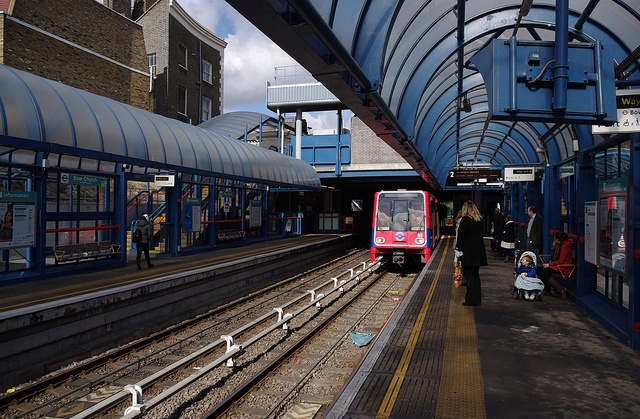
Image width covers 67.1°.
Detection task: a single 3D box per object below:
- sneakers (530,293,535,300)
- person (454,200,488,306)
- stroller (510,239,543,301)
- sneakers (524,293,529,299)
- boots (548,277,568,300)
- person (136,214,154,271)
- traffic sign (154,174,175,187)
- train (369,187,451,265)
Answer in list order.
[{"bbox_3d":[5.677,2.404,13.182,0.170,0.214,0.076,-1,-1,-12],"label":"sneakers"},{"bbox_3d":[3.860,1.159,12.659,0.700,2.796,0.837,-1,-1,18],"label":"person"},{"bbox_3d":[5.648,1.859,13.441,0.774,0.865,0.736,-1,-1,21],"label":"stroller"},{"bbox_3d":[5.554,2.377,13.208,0.156,0.221,0.088,-1,-1,8],"label":"sneakers"},{"bbox_3d":[6.492,2.223,13.456,0.288,0.713,0.207,36,-47,-14],"label":"boots"},{"bbox_3d":[-6.200,1.133,17.258,0.494,1.905,1.184,-1,-1,-20],"label":"person"},{"bbox_3d":[-6.155,-1.170,19.438,0.942,0.490,0.502,-1,-1,25],"label":"traffic sign"},{"bbox_3d":[3.396,0.727,20.688,2.416,3.066,1.091,-1,-1,2],"label":"train"}]
